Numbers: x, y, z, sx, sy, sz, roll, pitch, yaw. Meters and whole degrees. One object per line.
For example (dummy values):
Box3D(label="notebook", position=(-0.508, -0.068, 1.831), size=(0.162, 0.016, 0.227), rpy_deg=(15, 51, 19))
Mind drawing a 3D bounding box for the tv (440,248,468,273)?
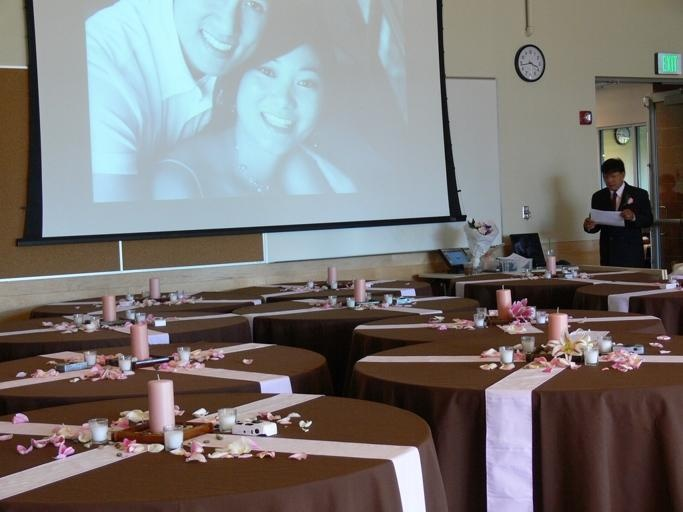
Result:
Box3D(label="tv", position=(1.296, 0.036, 6.493), size=(0.221, 0.262, 0.391), rpy_deg=(-20, -2, 33))

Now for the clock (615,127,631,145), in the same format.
Box3D(label="clock", position=(5.270, -2.274, 10.759), size=(0.320, 0.364, 0.072), rpy_deg=(3, 10, 30))

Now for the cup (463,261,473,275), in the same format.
Box3D(label="cup", position=(1.380, 0.137, 6.288), size=(0.108, 0.120, 0.108), rpy_deg=(0, -1, 0))

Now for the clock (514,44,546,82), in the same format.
Box3D(label="clock", position=(2.227, -2.327, 6.868), size=(0.466, 0.455, 0.076), rpy_deg=(1, -3, -28))

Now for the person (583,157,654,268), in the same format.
Box3D(label="person", position=(2.708, -0.426, 5.643), size=(0.578, 1.070, 0.754), rpy_deg=(1, 3, 28))

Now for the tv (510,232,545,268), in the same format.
Box3D(label="tv", position=(2.224, -0.072, 6.851), size=(0.457, 0.391, 0.320), rpy_deg=(-1, 3, -6))

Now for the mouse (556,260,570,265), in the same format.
Box3D(label="mouse", position=(2.460, 0.084, 6.394), size=(0.108, 0.055, 0.154), rpy_deg=(0, -2, 6))

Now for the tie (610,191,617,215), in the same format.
Box3D(label="tie", position=(2.650, -0.540, 5.594), size=(0.051, 0.184, 0.037), rpy_deg=(1, 3, 31))
